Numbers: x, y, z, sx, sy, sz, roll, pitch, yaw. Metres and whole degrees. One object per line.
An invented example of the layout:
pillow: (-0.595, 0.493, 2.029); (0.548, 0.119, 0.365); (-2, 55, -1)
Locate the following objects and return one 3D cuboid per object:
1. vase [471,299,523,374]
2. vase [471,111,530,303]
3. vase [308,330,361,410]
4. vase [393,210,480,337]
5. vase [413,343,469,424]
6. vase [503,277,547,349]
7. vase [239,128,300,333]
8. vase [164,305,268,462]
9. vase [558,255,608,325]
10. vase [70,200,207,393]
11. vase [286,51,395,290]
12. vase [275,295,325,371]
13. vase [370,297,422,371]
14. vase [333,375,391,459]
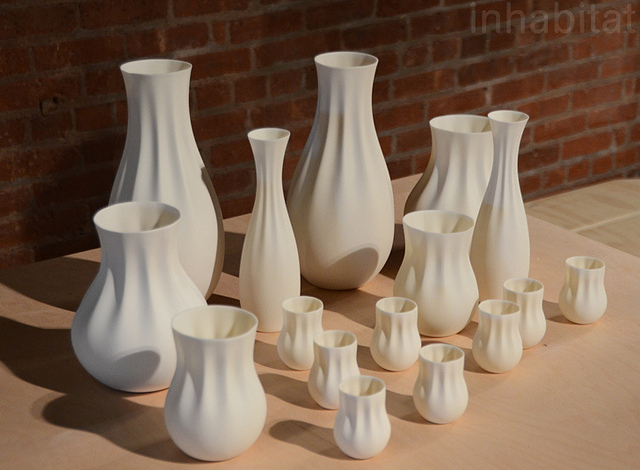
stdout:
vase: (0.251, 0.147, 0.954); (0.067, 0.097, 0.069); (7, 16, 33)
vase: (0.280, -0.035, 1.043); (0.084, 0.279, 0.064); (-10, 21, -22)
vase: (0.021, 0.182, 0.894); (0.071, 0.097, 0.073); (-1, 7, 24)
vase: (0.181, 0.058, 1.036); (0.139, 0.201, 0.142); (-2, 22, 2)
vase: (0.154, 0.194, 0.867); (0.068, 0.090, 0.055); (-5, 20, -9)
vase: (0.324, 0.120, 0.993); (0.071, 0.101, 0.073); (-14, -7, 26)
vase: (-0.079, 0.009, 0.986); (0.089, 0.298, 0.046); (-5, 20, -7)
vase: (-0.129, 0.183, 0.806); (0.131, 0.186, 0.133); (7, 15, 14)
vase: (0.413, 0.082, 1.047); (0.077, 0.111, 0.078); (-6, 23, 3)
vase: (-0.248, 0.092, 0.932); (0.175, 0.253, 0.186); (5, 22, -2)
vase: (0.031, -0.083, 1.073); (0.173, 0.368, 0.090); (-3, 19, -3)
vase: (-0.026, 0.139, 0.955); (0.074, 0.101, 0.074); (-7, 17, -10)
vase: (0.106, 0.137, 0.959); (0.070, 0.098, 0.074); (0, 19, 4)
vase: (0.052, 0.227, 0.831); (0.069, 0.095, 0.068); (-2, 15, -11)
